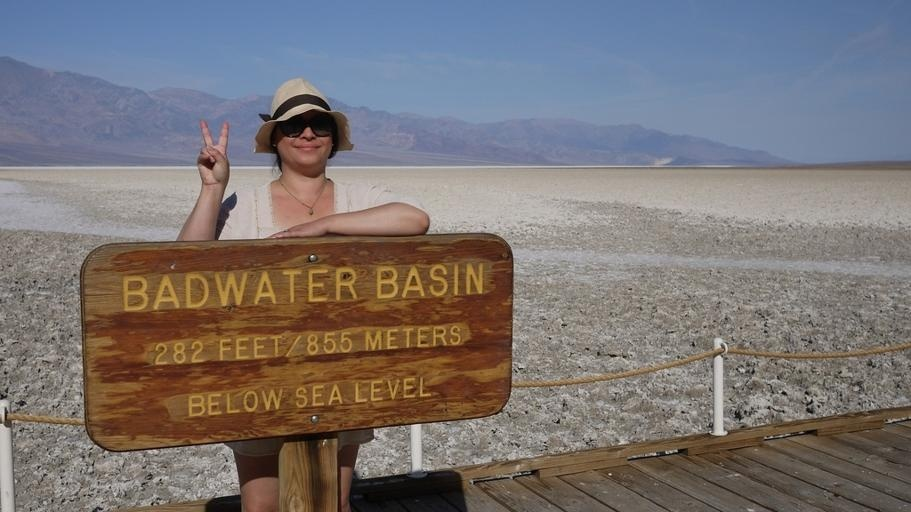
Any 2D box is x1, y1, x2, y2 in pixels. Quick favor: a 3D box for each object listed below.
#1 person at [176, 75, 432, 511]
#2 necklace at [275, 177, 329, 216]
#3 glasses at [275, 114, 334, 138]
[{"bbox_3d":[-0.946,0.469,3.821,1.336,3.070,1.018,6,14,30],"label":"person"},{"bbox_3d":[-0.932,-0.345,3.841,0.298,0.227,0.068,-8,-13,-14],"label":"necklace"},{"bbox_3d":[-0.886,-0.797,3.724,0.208,0.067,0.204,-3,-3,-16],"label":"glasses"}]
